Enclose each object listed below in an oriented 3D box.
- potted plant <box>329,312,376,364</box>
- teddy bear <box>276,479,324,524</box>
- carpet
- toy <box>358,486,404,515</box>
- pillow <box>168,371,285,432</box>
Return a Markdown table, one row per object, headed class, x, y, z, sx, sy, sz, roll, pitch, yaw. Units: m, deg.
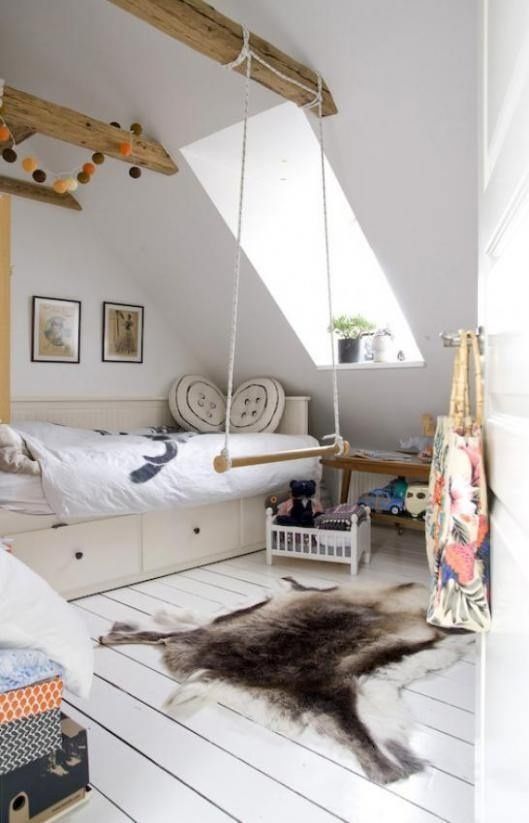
| class | x | y | z | sx | sy | sz | roll | pitch | yaw |
| --- | --- | --- | --- | --- | --- | --- | --- | --- | --- |
| potted plant | 0.504 | -0.387 | 3.583 | 0.259 | 0.374 | 0.352 | 0 | 3 | -18 |
| teddy bear | 0.213 | 0.512 | 3.346 | 0.315 | 0.315 | 0.202 | 4 | -35 | 4 |
| carpet | 0.165 | 0.822 | 2.219 | 1.216 | 0.018 | 1.392 | 0 | 1 | 32 |
| toy | 0.713 | 0.546 | 3.635 | 0.250 | 0.127 | 0.137 | -1 | 0 | 33 |
| pillow | -0.254 | -0.016 | 4.207 | 0.502 | 0.529 | 0.209 | 0 | -18 | 3 |
